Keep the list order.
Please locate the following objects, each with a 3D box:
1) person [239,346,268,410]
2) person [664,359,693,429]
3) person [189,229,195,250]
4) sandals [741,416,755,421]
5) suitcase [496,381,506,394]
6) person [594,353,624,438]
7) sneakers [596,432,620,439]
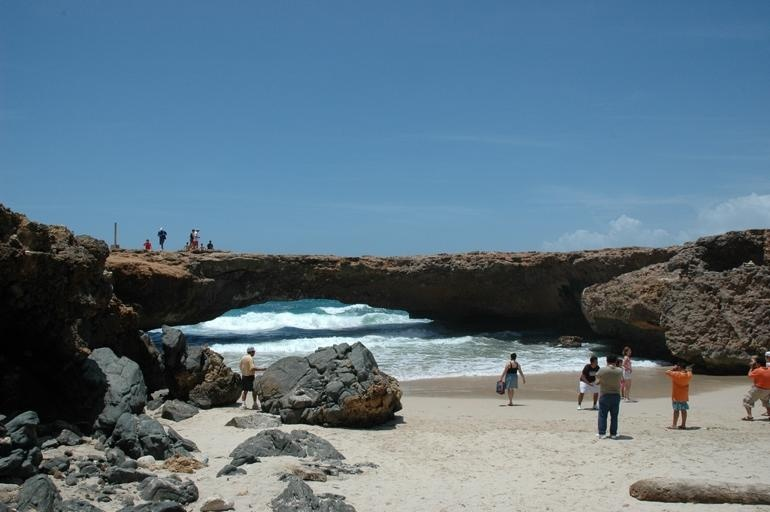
[{"bbox_3d":[-3.454,3.076,21.589,0.522,1.493,1.523,-1,-2,-9],"label":"person"},{"bbox_3d":[6.987,3.215,19.898,0.492,1.431,1.908,-1,-2,19],"label":"person"},{"bbox_3d":[-7.811,-0.624,34.024,0.221,0.801,1.529,0,-2,-13],"label":"person"},{"bbox_3d":[8.443,3.773,19.520,0.260,0.097,0.100,1,-3,21],"label":"sandals"},{"bbox_3d":[3.032,3.419,21.929,0.219,0.301,0.319,-1,-2,8],"label":"suitcase"},{"bbox_3d":[5.041,3.114,18.893,0.560,1.845,1.209,-1,-2,13],"label":"person"},{"bbox_3d":[4.946,4.011,18.626,0.487,0.181,0.157,2,-5,10],"label":"sneakers"}]
